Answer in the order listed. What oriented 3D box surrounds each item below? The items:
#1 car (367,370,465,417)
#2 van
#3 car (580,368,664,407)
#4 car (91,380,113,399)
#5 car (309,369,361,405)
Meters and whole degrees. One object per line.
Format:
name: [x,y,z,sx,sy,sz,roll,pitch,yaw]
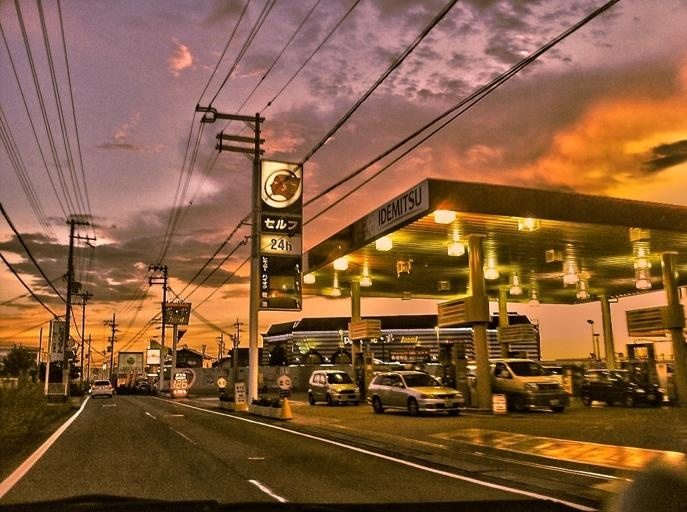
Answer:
car: [2.917,5.634,26.726,1.388,1.824,4.104,9,-17,-32]
van: [7.546,5.462,27.723,1.851,2.449,3.943,13,-20,-41]
car: [12.389,5.878,28.918,0.886,1.694,3.481,8,-17,-30]
car: [-20.410,11.156,54.531,1.613,1.477,2.161,5,-15,-22]
car: [-0.387,7.080,34.727,1.745,1.264,2.805,7,-19,-25]
